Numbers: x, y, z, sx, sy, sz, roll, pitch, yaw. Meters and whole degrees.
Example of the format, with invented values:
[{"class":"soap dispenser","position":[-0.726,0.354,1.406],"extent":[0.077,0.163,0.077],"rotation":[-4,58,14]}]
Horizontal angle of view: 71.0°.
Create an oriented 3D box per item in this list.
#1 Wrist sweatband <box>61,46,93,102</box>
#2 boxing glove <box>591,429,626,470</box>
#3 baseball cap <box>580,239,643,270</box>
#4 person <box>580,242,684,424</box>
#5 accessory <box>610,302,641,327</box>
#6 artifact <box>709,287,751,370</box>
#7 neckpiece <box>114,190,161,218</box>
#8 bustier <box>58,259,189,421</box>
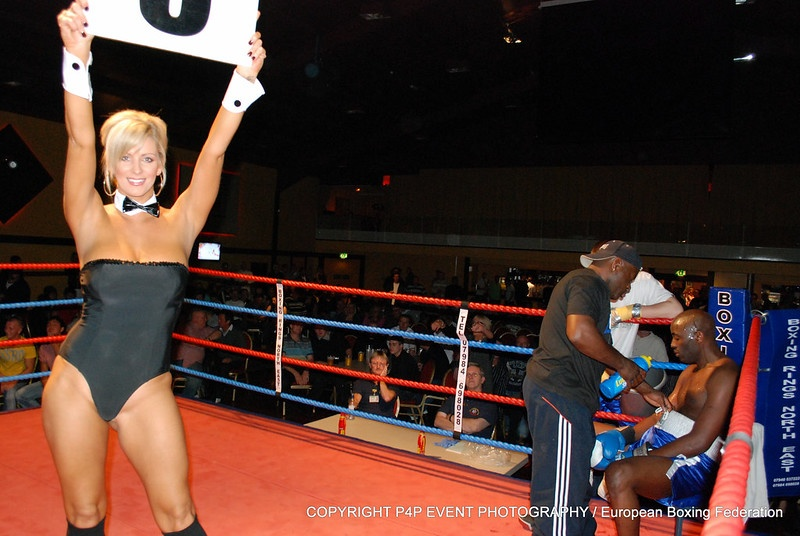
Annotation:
[{"class":"Wrist sweatband","position":[-1.664,-0.992,2.893],"extent":[0.128,0.253,0.148],"rotation":[-1,9,-30]},{"class":"boxing glove","position":[1.316,1.190,3.633],"extent":[0.126,0.265,0.210],"rotation":[48,15,-3]},{"class":"baseball cap","position":[1.375,-0.083,3.664],"extent":[0.332,0.169,0.215],"rotation":[13,-7,12]},{"class":"person","position":[1.713,0.461,4.566],"extent":[0.789,1.267,0.668],"rotation":[-2,14,9]},{"class":"accessory","position":[1.683,0.348,4.179],"extent":[0.199,0.091,0.155],"rotation":[-9,0,26]},{"class":"artifact","position":[2.295,0.406,4.126],"extent":[0.341,0.515,0.355],"rotation":[2,-4,16]},{"class":"neckpiece","position":[-1.429,-0.345,3.034],"extent":[0.167,0.100,0.037],"rotation":[2,1,-32]},{"class":"bustier","position":[-1.528,0.372,3.071],"extent":[0.573,0.798,0.511],"rotation":[9,-6,-18]}]
